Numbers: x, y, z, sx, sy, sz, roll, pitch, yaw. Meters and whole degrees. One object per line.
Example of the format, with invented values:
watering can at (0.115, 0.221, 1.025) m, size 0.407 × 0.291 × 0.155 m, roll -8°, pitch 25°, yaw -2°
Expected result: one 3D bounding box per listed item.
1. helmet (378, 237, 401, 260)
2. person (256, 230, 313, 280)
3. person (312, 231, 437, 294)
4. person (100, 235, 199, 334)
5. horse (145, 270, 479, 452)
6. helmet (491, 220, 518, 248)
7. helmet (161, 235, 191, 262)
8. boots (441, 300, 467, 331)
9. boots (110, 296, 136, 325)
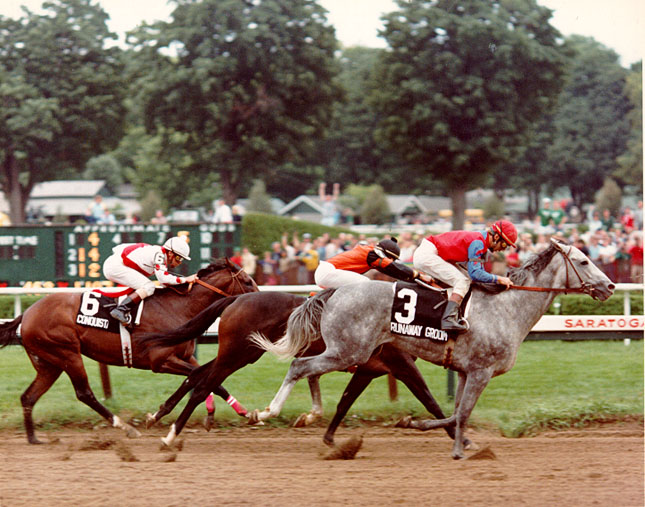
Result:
helmet at (0.647, -0.052, 11.547) m, size 0.230 × 0.109 × 0.168 m, roll 32°, pitch 15°, yaw 14°
person at (-0.462, 0.063, 15.752) m, size 0.578 × 0.240 × 0.708 m, roll -1°, pitch 31°, yaw 7°
person at (0.416, 0.142, 11.464) m, size 0.958 × 0.299 × 0.509 m, roll -13°, pitch 23°, yaw 9°
person at (-1.686, 0.212, 11.766) m, size 0.940 × 0.843 × 0.591 m, roll 15°, pitch 7°, yaw 21°
horse at (-0.079, 1.093, 11.569) m, size 3.059 × 1.487 × 0.571 m, roll 3°, pitch -7°, yaw 4°
helmet at (1.709, -0.204, 11.340) m, size 0.176 × 0.263 × 0.212 m, roll -33°, pitch -6°, yaw 35°
helmet at (-1.511, -0.054, 11.907) m, size 0.344 × 0.183 × 0.223 m, roll 9°, pitch 16°, yaw 12°
boots at (1.219, 0.592, 11.050) m, size 0.239 × 0.277 × 0.207 m, roll 1°, pitch 15°, yaw 5°
boots at (-1.908, 0.551, 11.464) m, size 0.159 × 0.271 × 0.224 m, roll 9°, pitch 17°, yaw 30°
